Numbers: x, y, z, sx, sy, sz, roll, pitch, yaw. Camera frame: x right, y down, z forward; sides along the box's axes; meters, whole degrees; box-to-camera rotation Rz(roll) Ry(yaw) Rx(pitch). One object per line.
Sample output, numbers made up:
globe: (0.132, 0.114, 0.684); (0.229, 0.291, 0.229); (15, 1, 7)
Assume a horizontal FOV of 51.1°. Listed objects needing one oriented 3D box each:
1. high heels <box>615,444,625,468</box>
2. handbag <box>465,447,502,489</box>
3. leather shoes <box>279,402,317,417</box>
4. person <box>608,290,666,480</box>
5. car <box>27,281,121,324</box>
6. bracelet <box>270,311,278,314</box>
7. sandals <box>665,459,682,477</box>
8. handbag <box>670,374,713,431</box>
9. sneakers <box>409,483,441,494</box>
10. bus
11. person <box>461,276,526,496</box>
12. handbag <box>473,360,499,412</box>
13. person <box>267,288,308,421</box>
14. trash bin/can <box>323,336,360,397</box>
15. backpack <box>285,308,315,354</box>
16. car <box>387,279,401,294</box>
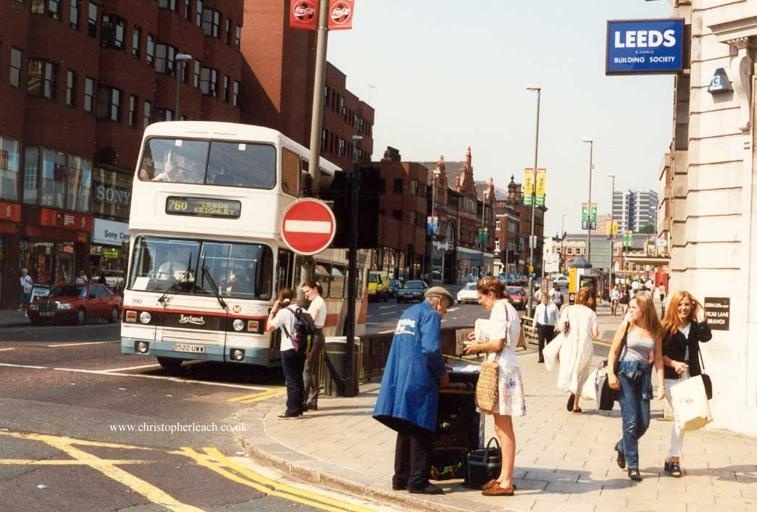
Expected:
high heels: (3.293, 2.751, 10.818); (0.129, 0.338, 0.108); (-10, 6, -9)
handbag: (1.292, 2.665, 9.974); (0.352, 0.522, 0.505); (1, -4, -19)
leather shoes: (-1.377, 2.698, 13.849); (0.637, 0.293, 0.216); (7, -7, -38)
person: (3.463, 1.735, 10.713); (0.613, 2.460, 0.822); (0, -1, 33)
car: (-12.383, 1.969, 32.628); (1.282, 0.969, 3.000); (-2, -7, 14)
bracelet: (-1.893, 1.018, 14.308); (0.113, 0.042, 0.118); (-5, 2, -16)
sandals: (3.969, 2.861, 10.732); (0.240, 0.205, 0.188); (0, -2, 32)
handbag: (4.082, 1.951, 10.416); (0.499, 0.744, 0.348); (0, -1, 24)
sneakers: (0.558, 2.852, 9.736); (0.379, 0.179, 0.156); (-3, 2, -3)
bus: (-4.246, 0.198, 22.759); (3.093, 5.770, 11.156); (4, -5, -4)
person: (1.472, 1.596, 9.870); (0.646, 2.684, 0.390); (0, -1, 7)
handbag: (1.316, 1.611, 9.792); (0.181, 0.670, 0.324); (2, -2, -44)
person: (-1.613, 1.691, 13.967); (0.666, 2.182, 0.865); (1, -1, -11)
trash bin/can: (-0.768, 2.216, 15.729); (0.684, 1.160, 0.644); (1, -1, -8)
backpack: (-1.450, 1.312, 14.184); (0.618, 0.706, 0.411); (7, 3, 38)
car: (1.125, 2.417, 62.056); (0.998, 0.971, 1.949); (-1, -4, 9)
